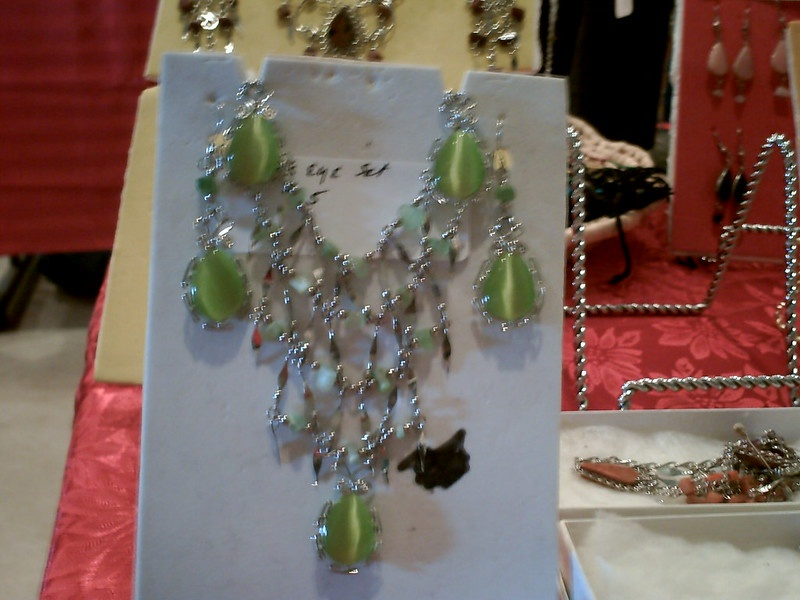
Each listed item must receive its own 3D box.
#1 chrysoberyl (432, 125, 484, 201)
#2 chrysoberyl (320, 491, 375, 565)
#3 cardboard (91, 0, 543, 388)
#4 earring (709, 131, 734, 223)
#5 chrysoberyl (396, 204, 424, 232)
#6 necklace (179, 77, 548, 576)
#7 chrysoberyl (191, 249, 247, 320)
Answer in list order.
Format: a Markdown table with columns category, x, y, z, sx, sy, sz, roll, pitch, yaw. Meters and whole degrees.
| category | x | y | z | sx | sy | sz | roll | pitch | yaw |
| --- | --- | --- | --- | --- | --- | --- | --- | --- | --- |
| chrysoberyl | 0.067 | -0.146 | 0.777 | 0.049 | 0.077 | 0.024 | 2 | 1 | -2 |
| chrysoberyl | -0.057 | 0.256 | 0.790 | 0.064 | 0.025 | 0.092 | -3 | 47 | -2 |
| cardboard | -0.306 | -0.191 | 1.100 | 0.571 | 0.616 | 0.025 | 1 | -1 | 1 |
| earring | 0.628 | -0.252 | 1.371 | 0.021 | 0.153 | 0.023 | -28 | 34 | -36 |
| chrysoberyl | 0.013 | -0.089 | 0.790 | 0.028 | 0.027 | 0.012 | 2 | 23 | -1 |
| necklace | -0.058 | 0.016 | 0.791 | 0.451 | 0.653 | 0.062 | 1 | 5 | -5 |
| chrysoberyl | -0.197 | -0.015 | 0.777 | 0.059 | 0.073 | 0.030 | -4 | 23 | -14 |
